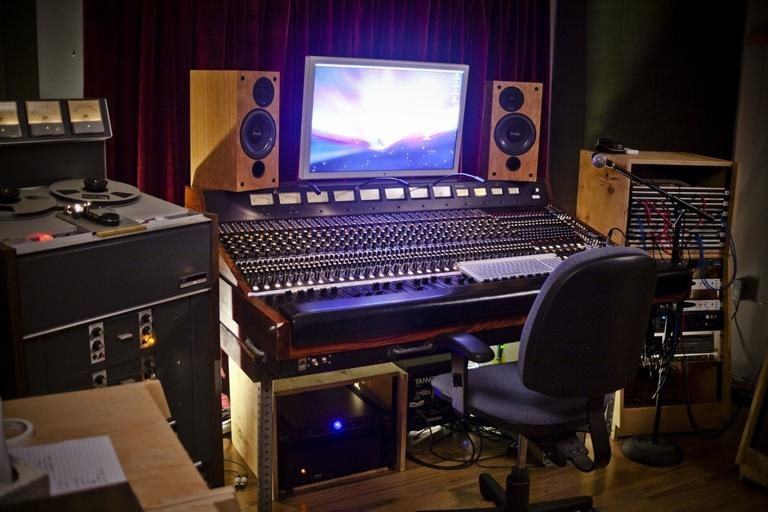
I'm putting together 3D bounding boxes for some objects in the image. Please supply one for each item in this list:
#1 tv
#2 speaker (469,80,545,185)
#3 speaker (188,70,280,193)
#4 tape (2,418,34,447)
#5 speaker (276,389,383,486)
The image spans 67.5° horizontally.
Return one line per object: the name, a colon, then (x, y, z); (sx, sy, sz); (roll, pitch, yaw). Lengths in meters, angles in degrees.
tv: (0.029, -0.732, 3.112); (0.722, 0.493, 0.074); (-1, 19, -28)
speaker: (0.727, -0.708, 3.306); (0.310, 0.564, 0.218); (2, 16, 9)
speaker: (-0.650, -0.608, 2.822); (0.433, 0.568, 0.269); (-3, 16, -6)
tape: (-0.795, 0.422, 1.382); (0.054, 0.015, 0.056); (24, 25, 29)
speaker: (-0.196, 0.924, 2.895); (0.454, 0.236, 0.451); (-7, 23, -21)
